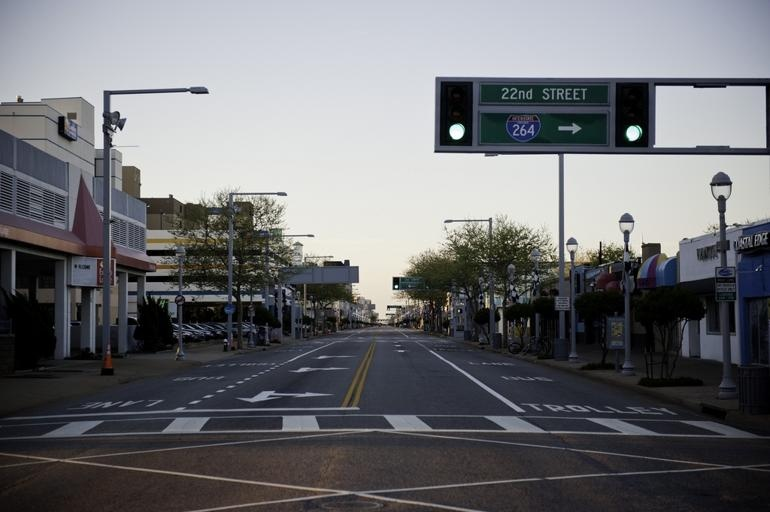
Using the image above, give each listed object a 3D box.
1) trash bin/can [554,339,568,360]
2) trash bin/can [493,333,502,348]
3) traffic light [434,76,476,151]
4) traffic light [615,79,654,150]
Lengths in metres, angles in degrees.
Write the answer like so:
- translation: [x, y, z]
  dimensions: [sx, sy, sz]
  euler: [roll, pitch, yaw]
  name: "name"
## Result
- translation: [9.277, 4.866, 44.020]
  dimensions: [0.724, 1.187, 0.584]
  euler: [0, -6, -8]
  name: "trash bin/can"
- translation: [8.380, 6.300, 62.379]
  dimensions: [0.625, 1.109, 1.251]
  euler: [-2, -7, 6]
  name: "trash bin/can"
- translation: [2.039, -4.092, 24.492]
  dimensions: [1.221, 2.225, 0.497]
  euler: [-1, -6, -5]
  name: "traffic light"
- translation: [7.330, -4.080, 24.777]
  dimensions: [0.919, 2.061, 0.906]
  euler: [0, -1, 1]
  name: "traffic light"
